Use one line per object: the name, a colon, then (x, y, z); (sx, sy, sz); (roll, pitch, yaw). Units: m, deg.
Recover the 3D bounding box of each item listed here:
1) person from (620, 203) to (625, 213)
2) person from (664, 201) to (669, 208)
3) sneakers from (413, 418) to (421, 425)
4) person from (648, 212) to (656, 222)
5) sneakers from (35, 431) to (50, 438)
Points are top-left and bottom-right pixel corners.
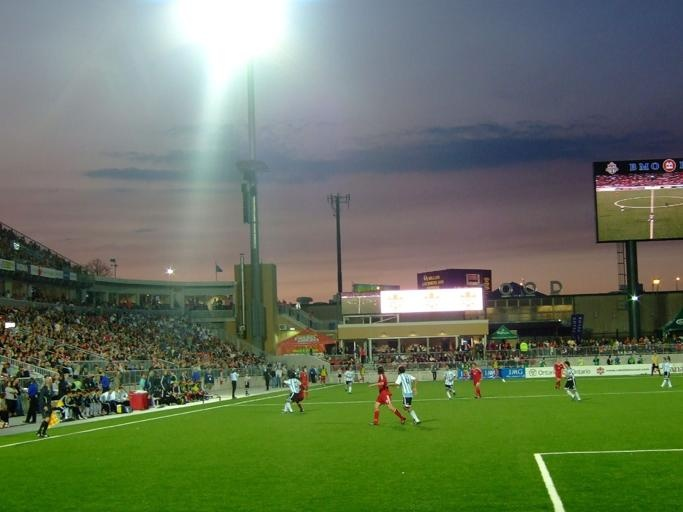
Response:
person: (24.956, -4.128, 78.110); (0.532, 1.112, 1.637); (1, 11, 17)
person: (28.776, -4.434, 77.818); (0.750, 0.522, 0.212); (2, 6, 6)
sneakers: (3.262, 7.297, 38.431); (0.263, 0.277, 0.309); (13, -4, 31)
person: (27.337, -3.351, 77.535); (0.693, 1.030, 0.553); (-1, 2, 1)
sneakers: (-12.962, 7.765, 37.927); (0.630, 0.280, 0.202); (-2, -4, 16)
